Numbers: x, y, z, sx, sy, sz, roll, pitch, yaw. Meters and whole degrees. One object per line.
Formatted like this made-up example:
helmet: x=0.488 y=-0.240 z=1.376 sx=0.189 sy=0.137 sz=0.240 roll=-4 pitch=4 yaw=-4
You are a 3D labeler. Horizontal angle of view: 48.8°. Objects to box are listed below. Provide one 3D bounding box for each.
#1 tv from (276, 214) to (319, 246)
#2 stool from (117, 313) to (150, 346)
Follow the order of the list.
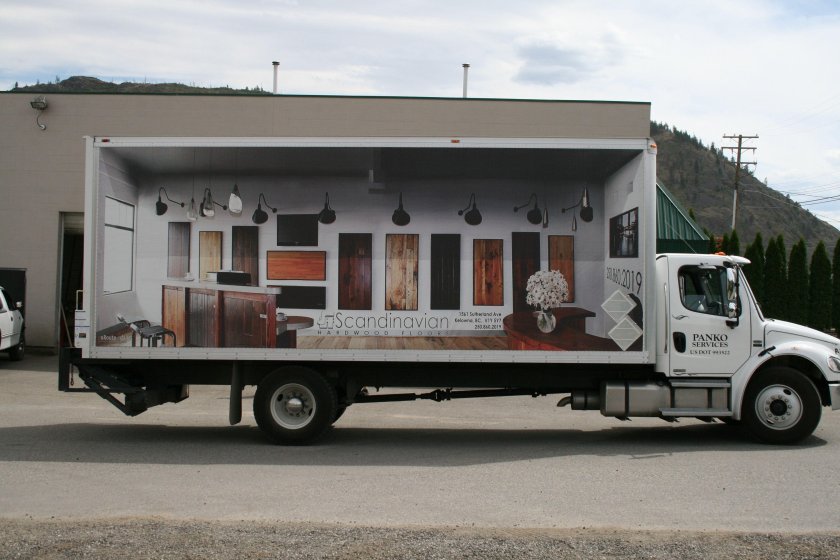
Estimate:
tv: x=-2.121 y=-0.829 z=15.988 sx=0.789 sy=0.665 sz=0.466 roll=0 pitch=-4 yaw=-2
stool: x=-4.945 y=0.882 z=16.026 sx=0.487 sy=0.580 sz=0.474 roll=-1 pitch=-2 yaw=-10
